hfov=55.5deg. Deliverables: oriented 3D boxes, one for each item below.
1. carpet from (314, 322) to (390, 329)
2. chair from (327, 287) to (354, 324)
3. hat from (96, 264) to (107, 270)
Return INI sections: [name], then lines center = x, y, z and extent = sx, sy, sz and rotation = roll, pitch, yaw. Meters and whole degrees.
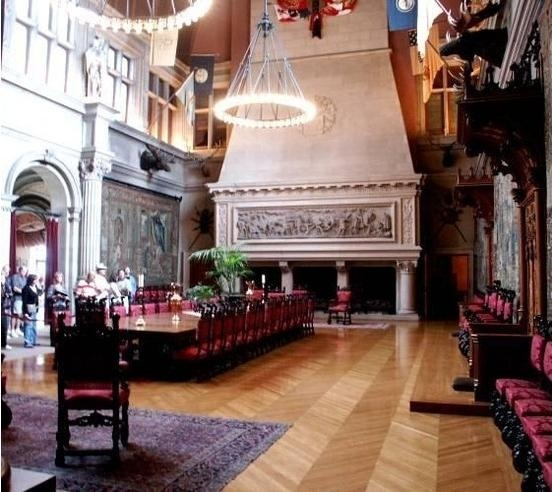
[carpet]
center = 2.048, 2.142, 13.891
extent = 1.962, 0.166, 1.773
rotation = -4, -6, 7
[chair]
center = 1.836, 1.717, 14.820
extent = 0.600, 1.017, 1.369
rotation = -3, -5, 10
[hat]
center = -3.954, 0.486, 11.905
extent = 0.150, 0.071, 0.149
rotation = -8, -7, 23
